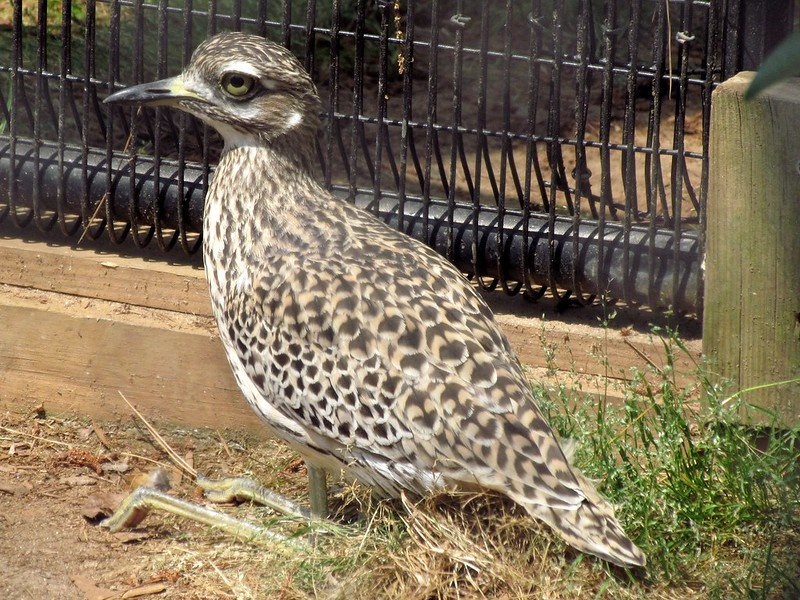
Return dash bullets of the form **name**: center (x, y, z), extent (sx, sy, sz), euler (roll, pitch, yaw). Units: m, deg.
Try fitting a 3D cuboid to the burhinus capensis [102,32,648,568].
- **burhinus capensis**: center (0.220, 0.042, 5.494), extent (1.875, 2.476, 1.723), euler (-7, 14, -29)
